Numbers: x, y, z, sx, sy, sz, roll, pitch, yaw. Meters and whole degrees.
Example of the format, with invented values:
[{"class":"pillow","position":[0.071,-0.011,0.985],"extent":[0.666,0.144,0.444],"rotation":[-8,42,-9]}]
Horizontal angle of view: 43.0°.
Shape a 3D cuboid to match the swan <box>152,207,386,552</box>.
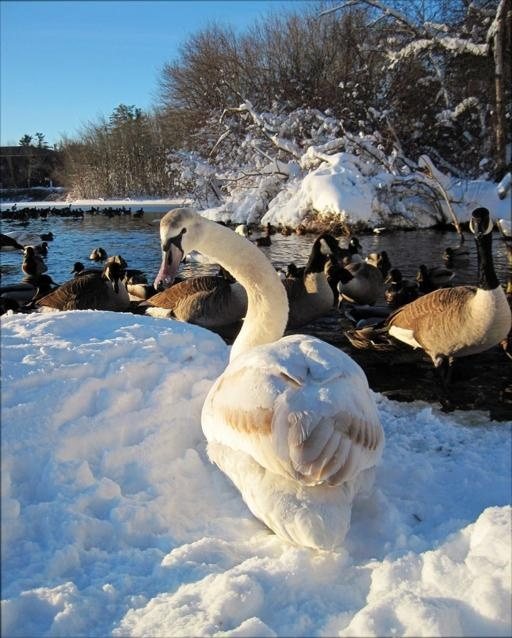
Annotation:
[{"class":"swan","position":[0.112,0.228,3.657],"extent":[0.947,1.948,1.457],"rotation":[-9,1,-22]}]
